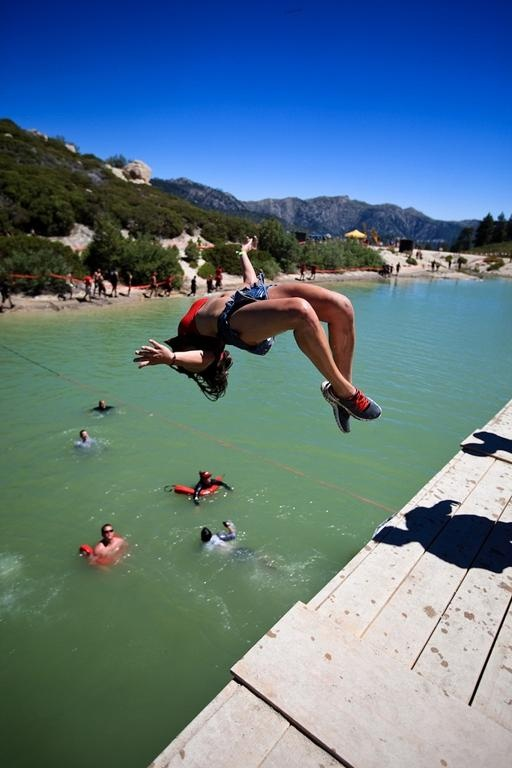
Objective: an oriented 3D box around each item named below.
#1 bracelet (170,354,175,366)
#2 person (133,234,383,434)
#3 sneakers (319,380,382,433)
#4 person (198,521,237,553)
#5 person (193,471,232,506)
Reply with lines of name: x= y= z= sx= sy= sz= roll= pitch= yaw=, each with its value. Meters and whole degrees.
bracelet: x=-0.572 y=-0.160 z=3.627 sx=0.020 sy=0.072 sz=0.055 roll=23 pitch=-7 yaw=-22
person: x=0.068 y=-0.245 z=3.837 sx=1.607 sy=1.143 sz=1.173 roll=12 pitch=8 yaw=11
sneakers: x=0.656 y=0.159 z=4.244 sx=0.656 sy=0.275 sz=0.304 roll=31 pitch=7 yaw=30
person: x=-0.498 y=2.192 z=7.431 sx=0.425 sy=0.343 sz=0.894 roll=2 pitch=-14 yaw=26
person: x=-0.747 y=1.699 z=8.659 sx=0.414 sy=0.434 sz=0.910 roll=18 pitch=11 yaw=40
